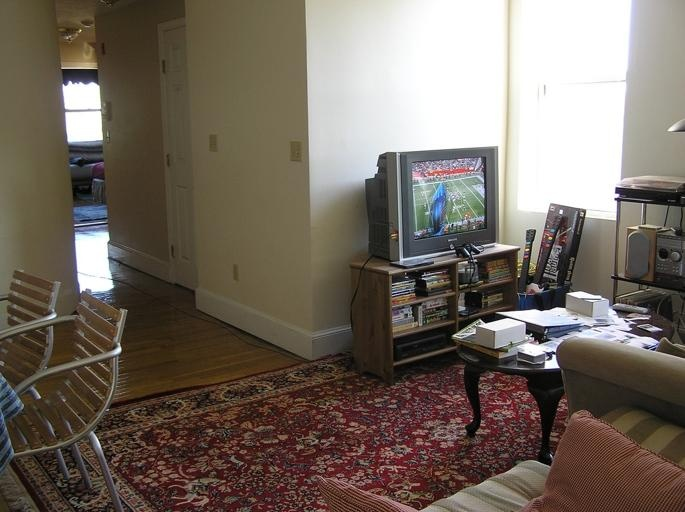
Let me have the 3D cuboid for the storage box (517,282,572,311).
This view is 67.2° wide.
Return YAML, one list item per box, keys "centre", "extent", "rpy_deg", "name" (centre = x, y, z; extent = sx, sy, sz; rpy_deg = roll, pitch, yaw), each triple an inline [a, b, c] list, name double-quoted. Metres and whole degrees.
- centre: [1.604, 0.320, 4.118]
  extent: [0.288, 0.178, 0.234]
  rpy_deg: [-11, 13, -26]
  name: "storage box"

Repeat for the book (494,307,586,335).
- centre: [1.191, 0.371, 2.976]
  extent: [0.220, 0.058, 0.206]
  rpy_deg: [-7, 16, -26]
  name: "book"

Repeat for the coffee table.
- centre: [0.958, 0.651, 2.748]
  extent: [0.885, 0.438, 0.703]
  rpy_deg: [-6, 8, -38]
  name: "coffee table"

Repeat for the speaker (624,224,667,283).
- centre: [2.103, -0.022, 3.626]
  extent: [0.216, 0.369, 0.218]
  rpy_deg: [6, 15, 29]
  name: "speaker"

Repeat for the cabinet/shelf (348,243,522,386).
- centre: [0.584, 0.414, 3.595]
  extent: [0.943, 0.539, 0.351]
  rpy_deg: [-7, 11, -37]
  name: "cabinet/shelf"

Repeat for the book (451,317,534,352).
- centre: [0.778, 0.413, 2.781]
  extent: [0.223, 0.071, 0.215]
  rpy_deg: [-10, 14, -38]
  name: "book"

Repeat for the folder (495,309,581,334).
- centre: [1.151, 0.365, 2.997]
  extent: [0.207, 0.041, 0.201]
  rpy_deg: [-8, 14, -22]
  name: "folder"

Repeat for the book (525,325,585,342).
- centre: [1.132, 0.420, 2.791]
  extent: [0.183, 0.043, 0.177]
  rpy_deg: [-7, 12, -33]
  name: "book"
